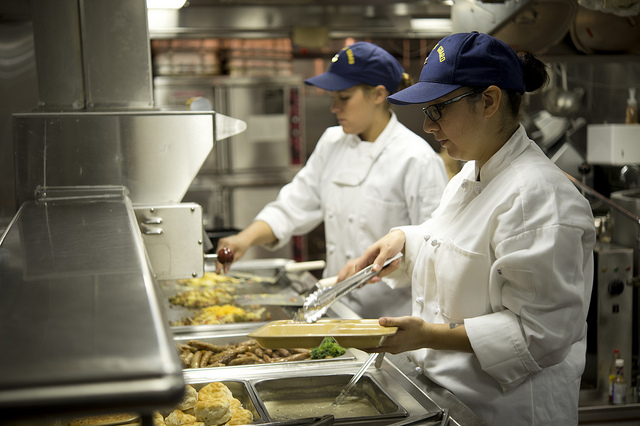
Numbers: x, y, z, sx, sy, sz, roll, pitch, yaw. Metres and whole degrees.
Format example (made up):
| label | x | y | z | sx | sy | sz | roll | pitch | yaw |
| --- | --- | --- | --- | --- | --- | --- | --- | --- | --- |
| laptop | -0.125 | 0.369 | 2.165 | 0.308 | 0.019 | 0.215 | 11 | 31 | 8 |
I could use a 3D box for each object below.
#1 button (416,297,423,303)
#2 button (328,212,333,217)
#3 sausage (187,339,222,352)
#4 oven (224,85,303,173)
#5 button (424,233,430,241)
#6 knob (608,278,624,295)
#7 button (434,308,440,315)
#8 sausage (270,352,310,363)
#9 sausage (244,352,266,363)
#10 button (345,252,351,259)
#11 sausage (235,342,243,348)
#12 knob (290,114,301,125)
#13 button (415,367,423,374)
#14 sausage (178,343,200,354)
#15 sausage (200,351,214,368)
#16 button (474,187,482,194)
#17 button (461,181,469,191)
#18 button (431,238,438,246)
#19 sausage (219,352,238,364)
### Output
| label | x | y | z | sx | sy | sz | roll | pitch | yaw |
| --- | --- | --- | --- | --- | --- | --- | --- | --- | --- |
| button | 0.351 | 0.304 | 1.795 | 0.017 | 0.004 | 0.017 | 5 | 23 | 40 |
| button | 0.055 | 0.007 | 2.573 | 0.004 | 0.029 | 0.027 | -8 | 8 | -39 |
| sausage | -0.432 | 0.506 | 1.945 | 0.145 | 0.033 | 0.031 | 0 | 7 | 22 |
| oven | -0.666 | -1.212 | 5.807 | 0.849 | 1.144 | 1.168 | -1 | 38 | -5 |
| button | 0.377 | 0.081 | 1.786 | 0.018 | 0.009 | 0.026 | -13 | 45 | 29 |
| knob | 1.488 | 0.368 | 2.579 | 0.076 | 0.080 | 0.020 | 12 | 2 | -6 |
| button | 0.389 | 0.325 | 1.697 | 0.017 | 0.004 | 0.018 | -38 | 19 | 36 |
| sausage | -0.089 | 0.514 | 1.837 | 0.108 | 0.024 | 0.022 | -9 | -4 | -4 |
| sausage | -0.229 | 0.522 | 1.852 | 0.031 | 0.012 | 0.139 | -7 | 8 | -31 |
| button | 0.142 | 0.209 | 2.507 | 0.024 | 0.048 | 0.031 | -2 | 5 | -10 |
| sausage | -0.309 | 0.511 | 1.973 | 0.020 | 0.005 | 0.022 | 0 | 2 | -27 |
| knob | -0.236 | -0.983 | 5.392 | 0.100 | 0.100 | 0.025 | -20 | 18 | -16 |
| button | 0.335 | 0.530 | 1.727 | 0.026 | 0.019 | 0.013 | 0 | 7 | 18 |
| sausage | -0.504 | 0.520 | 1.962 | 0.050 | 0.012 | 0.030 | 12 | 35 | 12 |
| sausage | -0.409 | 0.537 | 1.858 | 0.016 | 0.014 | 0.063 | -40 | 4 | 18 |
| button | 0.511 | -0.074 | 1.655 | 0.007 | 0.023 | 0.027 | -6 | 7 | -25 |
| button | 0.482 | -0.093 | 1.704 | 0.005 | 0.021 | 0.021 | 3 | -23 | -27 |
| button | 0.381 | 0.097 | 1.691 | 0.011 | 0.023 | 0.031 | -5 | 7 | -19 |
| sausage | -0.325 | 0.521 | 1.870 | 0.020 | 0.021 | 0.084 | 48 | 33 | 22 |
